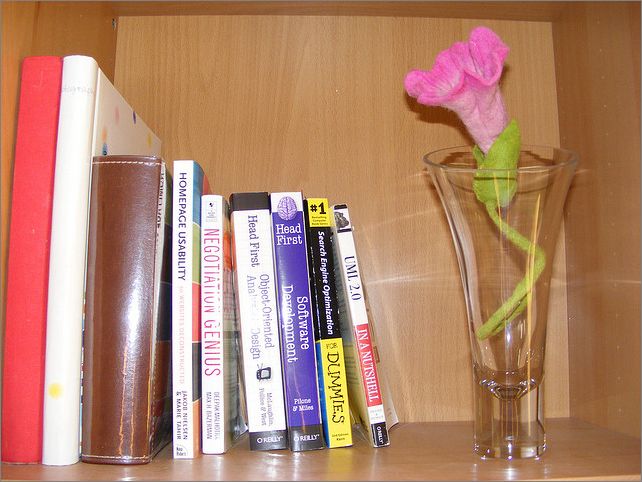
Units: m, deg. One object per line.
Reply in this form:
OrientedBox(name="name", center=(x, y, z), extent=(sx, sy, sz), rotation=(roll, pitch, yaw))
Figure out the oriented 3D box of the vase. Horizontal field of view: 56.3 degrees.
OrientedBox(name="vase", center=(0.291, 0.097, 0.902), extent=(0.214, 0.459, 0.081), rotation=(-5, -6, 18))
